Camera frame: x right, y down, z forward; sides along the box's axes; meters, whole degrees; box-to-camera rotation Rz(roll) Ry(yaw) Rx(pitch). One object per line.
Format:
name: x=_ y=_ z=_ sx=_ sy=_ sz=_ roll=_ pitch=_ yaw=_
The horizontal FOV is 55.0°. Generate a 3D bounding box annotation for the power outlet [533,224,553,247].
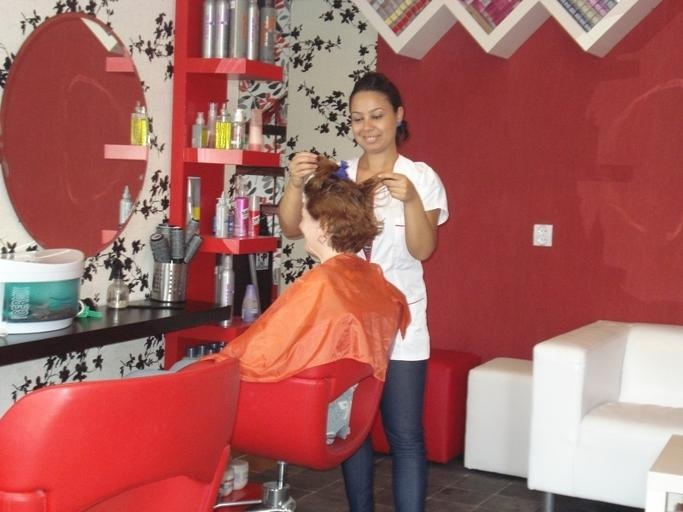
power outlet: x=1.103 y=-0.113 z=3.584 sx=0.106 sy=0.134 sz=0.017 roll=4 pitch=0 yaw=31

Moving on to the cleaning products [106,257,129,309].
cleaning products: x=-0.934 y=0.115 z=2.745 sx=0.094 sy=0.203 sz=0.100 roll=6 pitch=7 yaw=5
